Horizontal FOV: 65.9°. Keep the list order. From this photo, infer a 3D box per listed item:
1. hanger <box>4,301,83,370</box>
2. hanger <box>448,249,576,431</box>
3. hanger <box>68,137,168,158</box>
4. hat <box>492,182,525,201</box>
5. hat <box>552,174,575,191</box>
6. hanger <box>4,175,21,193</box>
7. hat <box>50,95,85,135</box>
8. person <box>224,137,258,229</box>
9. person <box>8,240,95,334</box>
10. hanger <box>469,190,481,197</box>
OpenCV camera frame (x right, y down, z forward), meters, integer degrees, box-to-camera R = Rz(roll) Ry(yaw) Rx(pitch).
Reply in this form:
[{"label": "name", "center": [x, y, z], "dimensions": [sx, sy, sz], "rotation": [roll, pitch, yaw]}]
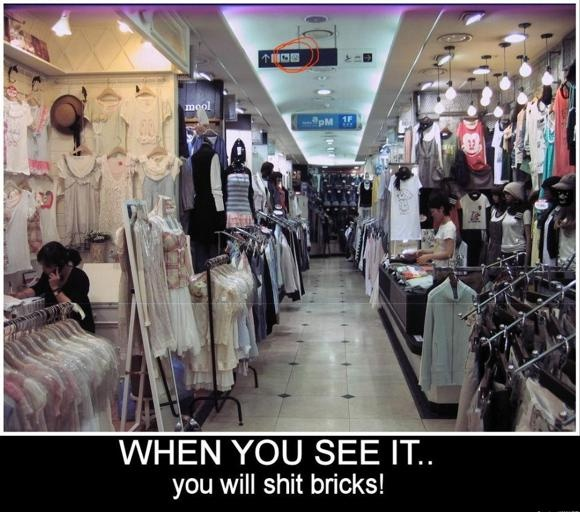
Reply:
[{"label": "hanger", "center": [-1.189, 0.344, 2.177], "dimensions": [0.070, 0.188, 0.449], "rotation": [3, 9, 16]}, {"label": "hanger", "center": [1.011, 0.398, 2.022], "dimensions": [0.402, 0.939, 0.720], "rotation": [0, 3, 2]}, {"label": "hanger", "center": [-1.659, -1.039, 4.381], "dimensions": [0.926, 0.161, 0.132], "rotation": [-2, 3, 0]}, {"label": "hat", "center": [1.575, -0.446, 3.183], "dimensions": [0.145, 0.133, 0.119], "rotation": [6, 4, 20]}, {"label": "hat", "center": [1.339, -0.356, 2.170], "dimensions": [0.051, 0.080, 0.142], "rotation": [-2, 4, -13]}, {"label": "hanger", "center": [-2.298, -0.592, 3.696], "dimensions": [0.014, 0.125, 0.176], "rotation": [1, 8, 26]}, {"label": "hat", "center": [-2.199, -1.391, 4.411], "dimensions": [0.311, 0.405, 0.109], "rotation": [-3, 3, -21]}, {"label": "person", "center": [-0.518, -0.754, 4.566], "dimensions": [0.291, 0.941, 0.565], "rotation": [-1, 3, 0]}, {"label": "person", "center": [-1.414, 0.324, 2.732], "dimensions": [0.274, 0.791, 0.391], "rotation": [17, 17, 41]}, {"label": "hanger", "center": [1.461, -0.492, 3.528], "dimensions": [0.035, 0.051, 0.115], "rotation": [-2, 4, -9]}]
